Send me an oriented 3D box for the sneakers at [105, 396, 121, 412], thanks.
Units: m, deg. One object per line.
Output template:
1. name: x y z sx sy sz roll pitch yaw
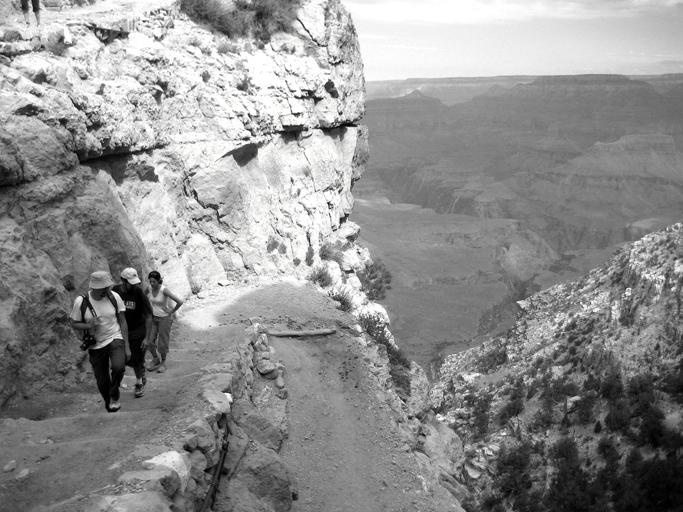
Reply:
1. sneakers: -3.802 2.474 9.428 0.162 0.251 0.094 5 -11 -3

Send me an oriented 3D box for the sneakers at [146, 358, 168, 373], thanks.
1. sneakers: -3.551 2.128 10.912 0.499 0.234 0.168 7 -11 -6

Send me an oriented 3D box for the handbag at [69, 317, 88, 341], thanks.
1. handbag: -4.189 1.177 9.004 0.209 0.397 0.350 -12 23 -31

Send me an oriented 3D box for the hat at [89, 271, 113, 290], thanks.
1. hat: -3.814 0.310 8.972 0.301 0.201 0.318 4 24 15

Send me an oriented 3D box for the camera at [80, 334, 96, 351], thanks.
1. camera: -4.066 1.419 9.074 0.208 0.301 0.112 26 -2 14

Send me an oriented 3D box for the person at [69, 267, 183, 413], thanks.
1. person: -3.789 1.372 9.448 0.734 2.499 1.177 6 21 17
